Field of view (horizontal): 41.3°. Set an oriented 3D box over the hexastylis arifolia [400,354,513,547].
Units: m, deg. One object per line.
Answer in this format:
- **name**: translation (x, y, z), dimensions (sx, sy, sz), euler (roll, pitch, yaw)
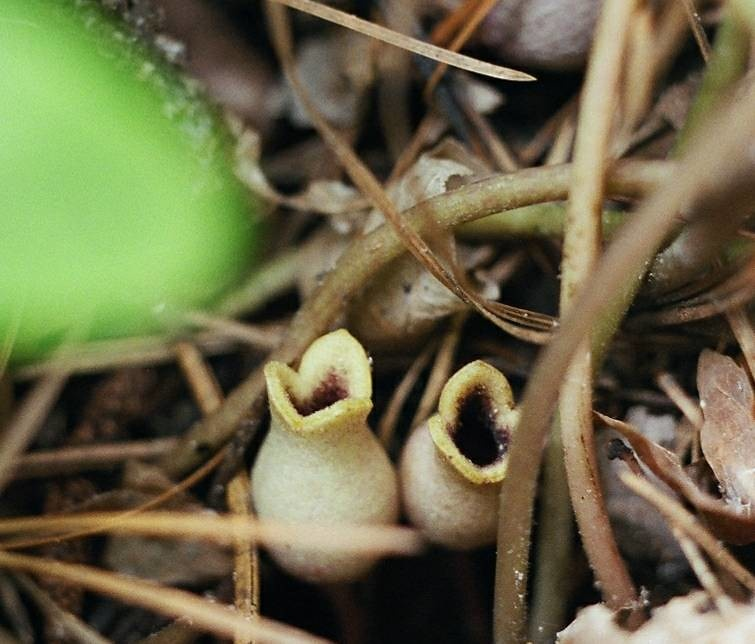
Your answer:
- **hexastylis arifolia**: translation (0.068, 0.113, 0.848), dimensions (0.103, 0.122, 0.113), euler (-3, 46, 7)
